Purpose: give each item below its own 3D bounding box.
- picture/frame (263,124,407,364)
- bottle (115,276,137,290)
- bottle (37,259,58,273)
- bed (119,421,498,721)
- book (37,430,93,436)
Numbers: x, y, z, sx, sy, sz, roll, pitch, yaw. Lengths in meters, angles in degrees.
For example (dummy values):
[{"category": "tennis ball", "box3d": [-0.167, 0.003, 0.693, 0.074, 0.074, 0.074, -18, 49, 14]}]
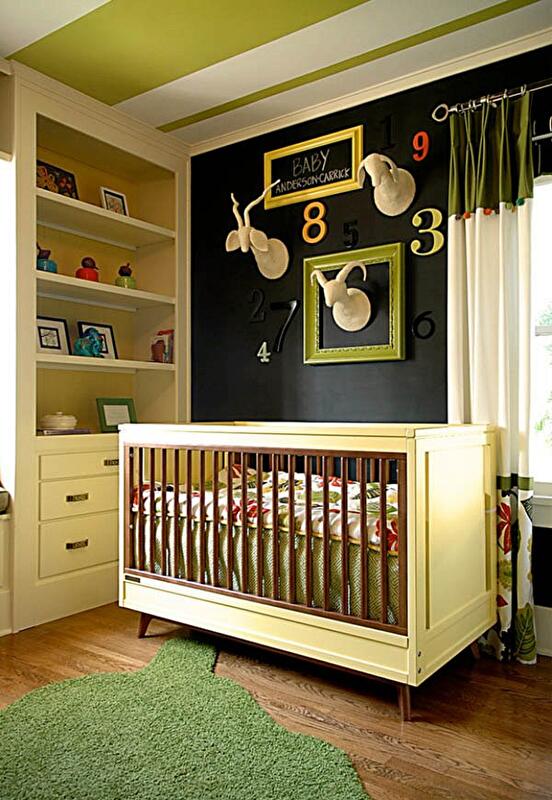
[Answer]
[{"category": "picture/frame", "box3d": [0.239, -0.688, 2.760, 0.181, 1.075, 0.742, 5, -6, -42]}, {"category": "bottle", "box3d": [-0.781, -0.602, 3.151, 0.081, 0.083, 0.084, 2, 1, -4]}, {"category": "bottle", "box3d": [-1.004, -0.576, 2.656, 0.068, 0.070, 0.071, 1, -3, -16]}, {"category": "bed", "box3d": [0.083, 0.452, 2.180, 1.202, 0.777, 0.723, 0, -1, 33]}, {"category": "book", "box3d": [-0.939, 0.143, 2.707, 0.228, 0.035, 0.228, 2, -5, -20]}]
